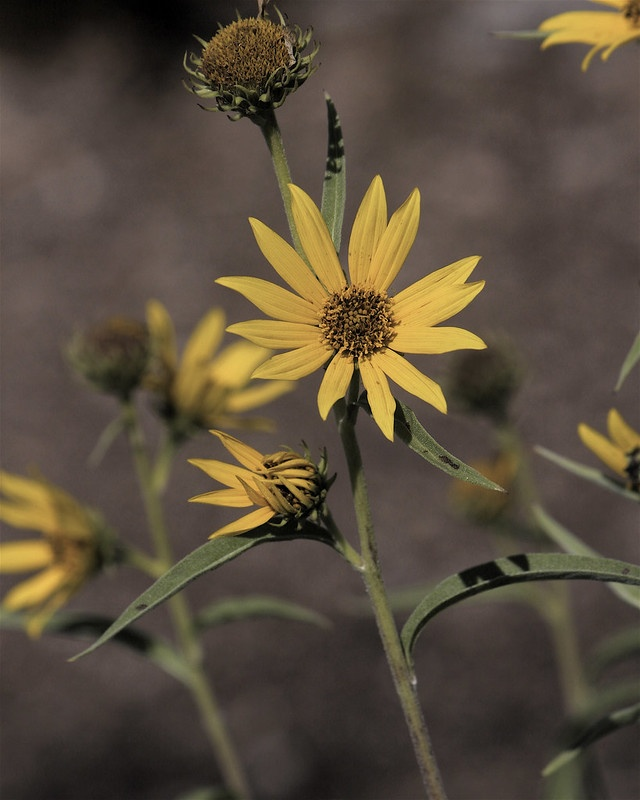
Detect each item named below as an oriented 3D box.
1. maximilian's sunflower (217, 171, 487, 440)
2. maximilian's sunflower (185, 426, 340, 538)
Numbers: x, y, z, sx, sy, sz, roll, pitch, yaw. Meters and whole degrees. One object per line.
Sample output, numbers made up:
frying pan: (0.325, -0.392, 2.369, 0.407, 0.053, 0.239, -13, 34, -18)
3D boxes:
maximilian's sunflower: (0.039, -0.086, 0.791, 0.219, 0.212, 0.058, -14, 50, 12)
maximilian's sunflower: (-0.033, 0.062, 0.812, 0.113, 0.058, 0.119, -40, 62, 27)
